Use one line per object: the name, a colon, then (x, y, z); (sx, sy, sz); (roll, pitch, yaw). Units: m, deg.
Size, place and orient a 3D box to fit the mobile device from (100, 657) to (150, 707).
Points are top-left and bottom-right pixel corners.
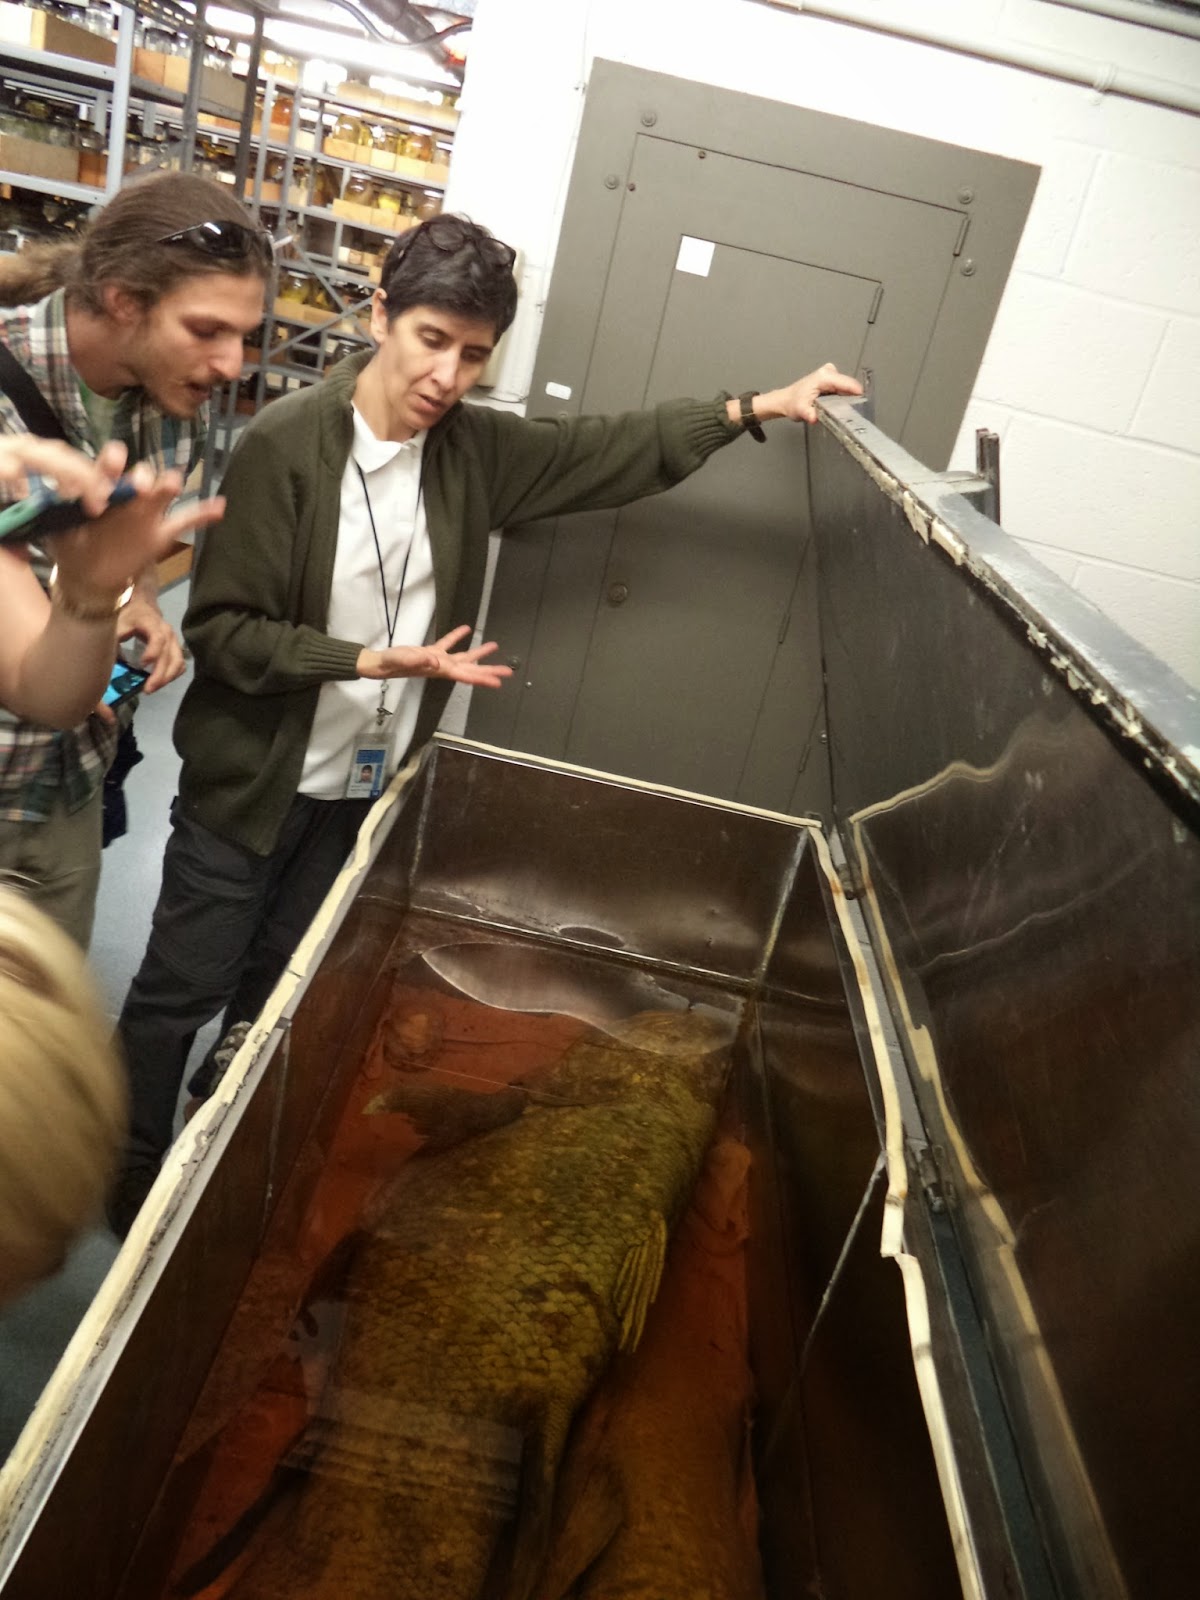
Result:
mobile device: (-0.684, -0.171, 1.462); (0.009, 0.054, 0.094); (13, 15, 14)
